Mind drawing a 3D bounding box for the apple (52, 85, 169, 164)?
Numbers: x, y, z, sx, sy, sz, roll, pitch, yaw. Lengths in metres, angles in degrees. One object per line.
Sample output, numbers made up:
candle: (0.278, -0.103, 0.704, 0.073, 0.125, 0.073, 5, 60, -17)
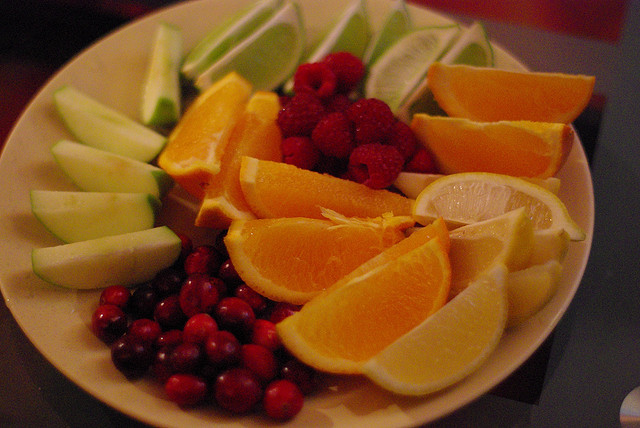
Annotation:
apple: (-0.698, -0.351, 2.263, 0.384, 0.263, 0.350, 18, 40, 30)

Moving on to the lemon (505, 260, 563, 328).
lemon: (0.620, 0.227, 1.839, 0.202, 0.120, 0.120, -23, 64, -8)

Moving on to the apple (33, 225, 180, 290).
apple: (-0.650, 0.139, 1.945, 0.430, 0.121, 0.133, -15, 64, -4)

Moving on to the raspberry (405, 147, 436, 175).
raspberry: (0.332, -0.167, 2.069, 0.066, 0.051, 0.098, 5, 88, 11)

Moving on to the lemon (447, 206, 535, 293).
lemon: (0.489, 0.099, 1.824, 0.282, 0.096, 0.234, -24, 61, 28)
